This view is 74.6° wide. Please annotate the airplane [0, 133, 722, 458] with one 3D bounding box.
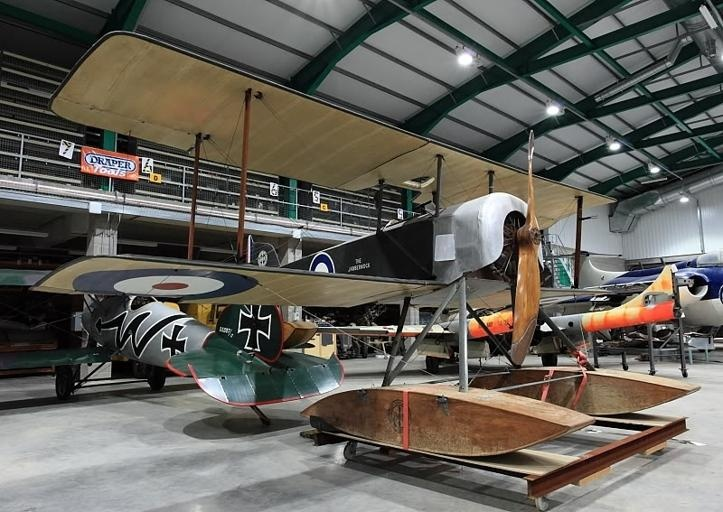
[{"bbox_3d":[-1.450,0.535,6.890,5.579,3.444,6.243,3,-6,-32],"label":"airplane"}]
